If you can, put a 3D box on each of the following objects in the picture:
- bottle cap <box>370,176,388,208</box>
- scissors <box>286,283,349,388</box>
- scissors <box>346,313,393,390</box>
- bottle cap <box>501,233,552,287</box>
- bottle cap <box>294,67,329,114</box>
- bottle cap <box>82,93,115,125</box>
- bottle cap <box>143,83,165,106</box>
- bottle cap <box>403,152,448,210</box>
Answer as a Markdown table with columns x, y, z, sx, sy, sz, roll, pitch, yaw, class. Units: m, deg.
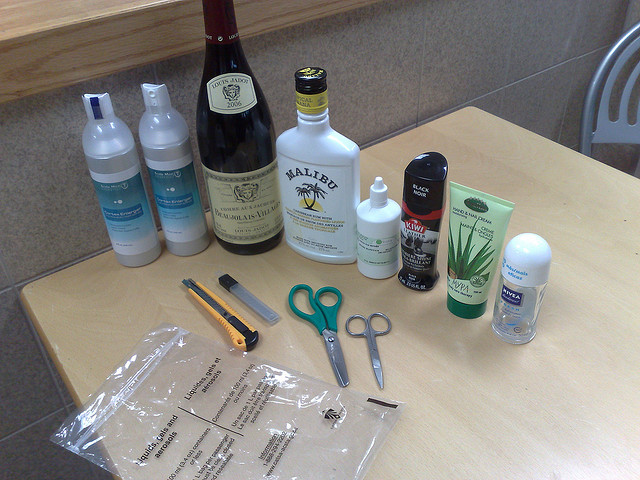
| x | y | z | sx | sy | sz | roll | pitch | yaw | class |
| --- | --- | --- | --- | --- | --- | --- | --- | --- | --- |
| 0.073 | -0.061 | 0.681 | 0.022 | 0.038 | 0.019 | -1 | 39 | 7 | bottle cap |
| 0.012 | 0.118 | 0.678 | 0.071 | 0.012 | 0.172 | -5 | 40 | -19 | scissors |
| 0.067 | 0.140 | 0.690 | 0.054 | 0.125 | 0.005 | -7 | 31 | 11 | scissors |
| 0.229 | 0.023 | 0.602 | 0.047 | 0.046 | 0.040 | -4 | 39 | 3 | bottle cap |
| -0.011 | -0.184 | 0.673 | 0.041 | 0.049 | 0.042 | 26 | 46 | 32 | bottle cap |
| -0.273 | -0.159 | 0.674 | 0.031 | 0.037 | 0.034 | -11 | 5 | 0 | bottle cap |
| -0.206 | -0.183 | 0.680 | 0.020 | 0.023 | 0.022 | -32 | 46 | -28 | bottle cap |
| 0.127 | -0.073 | 0.661 | 0.050 | 0.053 | 0.048 | 6 | 41 | 15 | bottle cap |
